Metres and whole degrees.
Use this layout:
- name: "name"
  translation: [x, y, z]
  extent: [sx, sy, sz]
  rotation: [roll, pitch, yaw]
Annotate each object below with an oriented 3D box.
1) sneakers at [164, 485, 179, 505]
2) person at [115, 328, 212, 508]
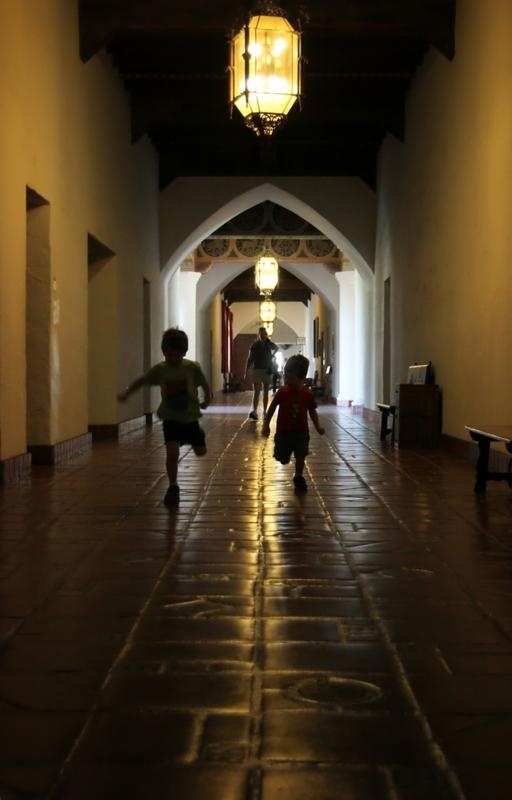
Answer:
- name: "sneakers"
  translation: [-0.553, 0.619, 4.388]
  extent: [0.087, 0.109, 0.124]
  rotation: [0, 3, -9]
- name: "person"
  translation: [-0.621, 0.094, 4.706]
  extent: [0.580, 1.182, 1.015]
  rotation: [0, 3, -6]
